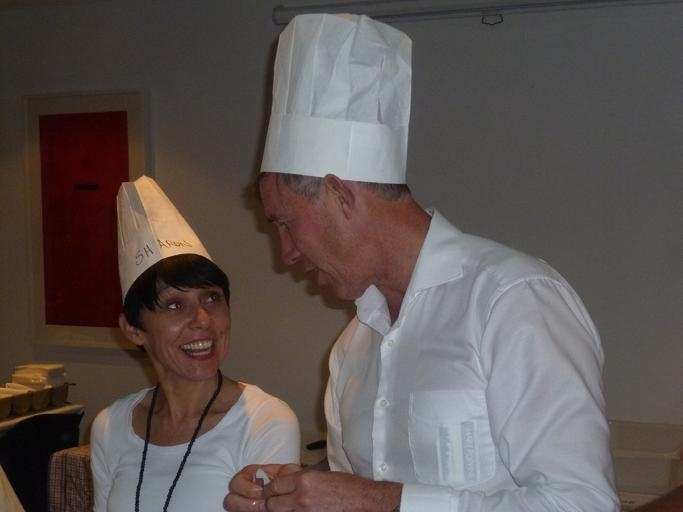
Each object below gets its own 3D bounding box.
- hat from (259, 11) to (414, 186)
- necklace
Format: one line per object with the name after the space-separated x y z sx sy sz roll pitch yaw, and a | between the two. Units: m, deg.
0.044 -0.448 2.280 0.461 0.561 0.488 4 2 11 | hat
-0.560 0.632 2.335 0.164 0.590 0.024 5 -30 12 | necklace
